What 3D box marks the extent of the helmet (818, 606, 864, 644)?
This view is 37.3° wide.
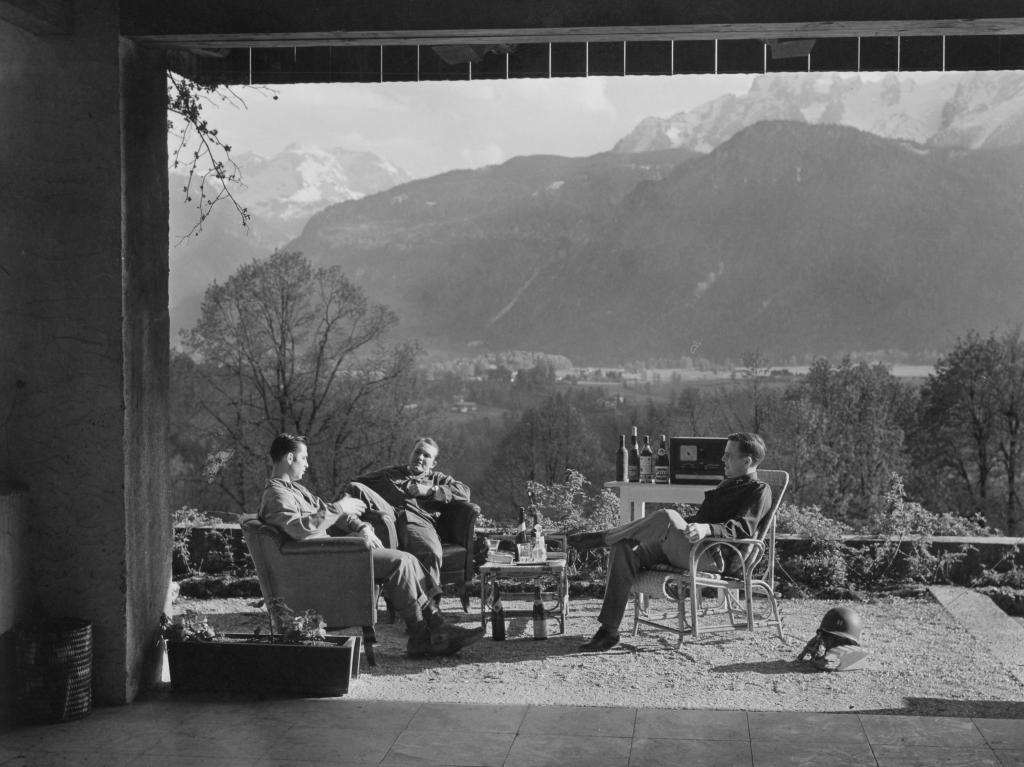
[{"bbox_3d":[2.370,1.742,11.040,0.219,0.254,0.288,9,12,-19],"label":"helmet"}]

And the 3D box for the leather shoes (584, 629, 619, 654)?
[{"bbox_3d":[0.672,1.928,11.248,0.293,0.153,0.116,1,-1,-10],"label":"leather shoes"}]

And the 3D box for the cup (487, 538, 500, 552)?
[{"bbox_3d":[-0.148,1.295,12.158,0.082,0.134,0.090,0,-5,0],"label":"cup"}]

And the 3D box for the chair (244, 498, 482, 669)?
[{"bbox_3d":[-1.187,1.415,10.837,1.176,1.548,1.053,-1,-2,1],"label":"chair"}]

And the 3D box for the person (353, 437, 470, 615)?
[{"bbox_3d":[-0.856,1.196,12.486,0.861,1.435,0.801,6,-26,-4],"label":"person"}]

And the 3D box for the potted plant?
[{"bbox_3d":[-1.712,1.842,10.291,1.279,0.561,0.275,0,-3,-2],"label":"potted plant"}]
